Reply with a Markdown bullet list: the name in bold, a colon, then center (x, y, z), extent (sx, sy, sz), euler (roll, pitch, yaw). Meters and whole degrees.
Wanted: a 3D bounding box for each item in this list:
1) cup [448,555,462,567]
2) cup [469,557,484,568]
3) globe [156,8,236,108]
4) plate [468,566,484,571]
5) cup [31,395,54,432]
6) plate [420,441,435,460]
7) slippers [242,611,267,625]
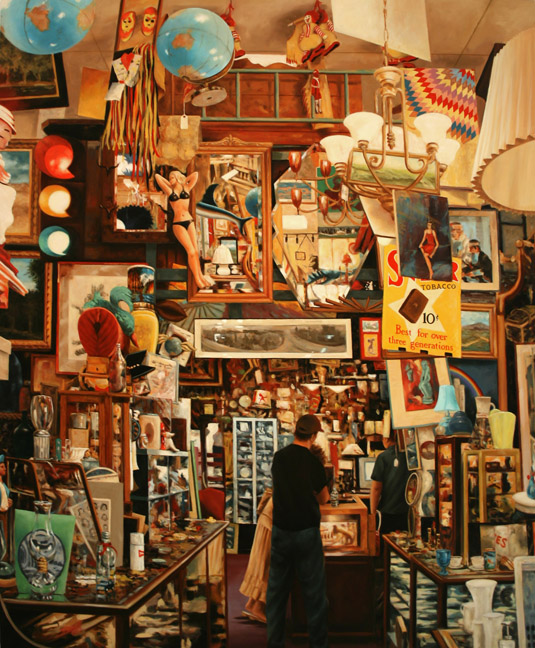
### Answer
- **cup**: center (1.050, 1.334, 4.426), extent (0.064, 0.042, 0.051), euler (-3, -4, 4)
- **cup**: center (1.161, 1.328, 4.382), extent (0.070, 0.048, 0.054), euler (-4, -10, 15)
- **globe**: center (-0.395, -1.554, 4.380), extent (0.424, 0.382, 0.246), euler (3, -8, -13)
- **plate**: center (1.151, 1.362, 4.358), extent (0.072, 0.020, 0.080), euler (-1, -8, 18)
- **cup**: center (-1.081, 0.431, 3.779), extent (0.098, 0.171, 0.239), euler (4, -8, -16)
- **plate**: center (1.234, 0.981, 6.108), extent (0.117, 0.151, 0.035), euler (-5, -11, 39)
- **slippers**: center (-0.113, 2.136, 5.744), extent (0.248, 0.082, 0.065), euler (-6, -11, 43)
